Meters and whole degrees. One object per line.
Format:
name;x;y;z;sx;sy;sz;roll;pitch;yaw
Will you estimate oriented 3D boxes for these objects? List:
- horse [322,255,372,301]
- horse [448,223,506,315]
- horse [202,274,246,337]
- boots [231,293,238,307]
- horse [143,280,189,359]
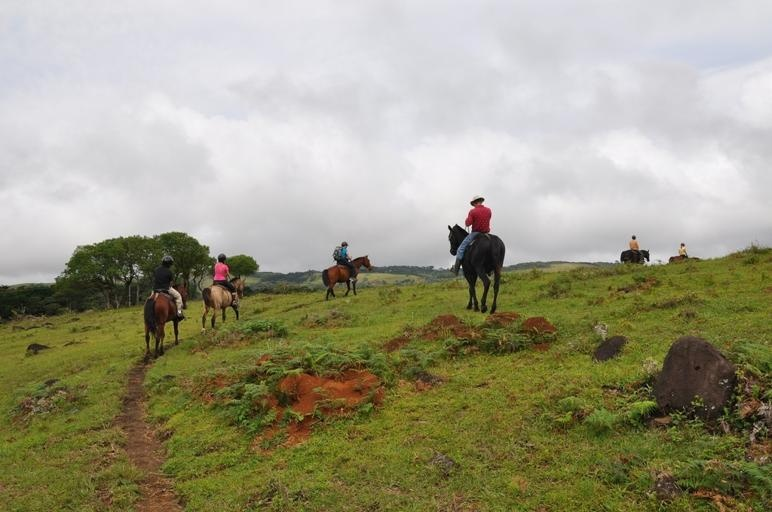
horse;-2.571;1.357;35.152;3.513;2.670;0.948;-6;10;-30
horse;3.984;0.418;24.229;1.319;3.966;4.205;-5;0;-19
horse;-8.556;2.400;28.418;1.020;2.751;4.169;2;2;10
boots;-8.068;2.295;28.580;0.157;0.676;0.361;11;13;32
horse;-10.237;3.044;24.638;1.497;2.807;3.210;-3;-3;-25
